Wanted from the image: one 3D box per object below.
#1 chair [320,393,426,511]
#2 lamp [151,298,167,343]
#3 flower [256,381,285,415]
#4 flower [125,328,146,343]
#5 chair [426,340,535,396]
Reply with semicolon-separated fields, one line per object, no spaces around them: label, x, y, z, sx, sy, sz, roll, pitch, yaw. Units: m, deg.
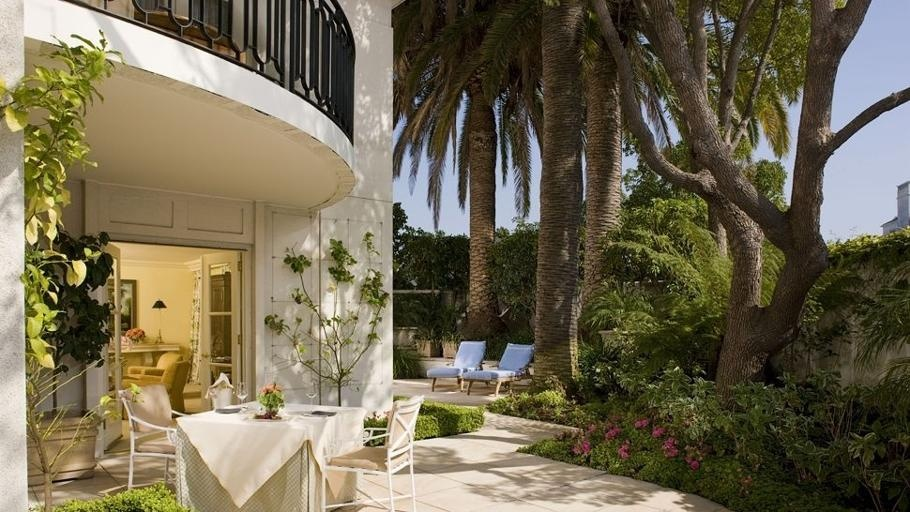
chair;-0.961;2.507;8.924;1.281;2.051;1.203;-1;-7;19
lamp;-6.749;1.477;15.625;0.283;0.985;0.506;-2;7;-24
flower;-2.198;1.723;8.315;0.355;0.414;0.366;1;-7;0
flower;-6.992;1.734;14.925;0.295;0.282;0.296;-3;-9;35
chair;0.665;2.653;15.833;1.863;1.264;2.035;-4;7;-44
